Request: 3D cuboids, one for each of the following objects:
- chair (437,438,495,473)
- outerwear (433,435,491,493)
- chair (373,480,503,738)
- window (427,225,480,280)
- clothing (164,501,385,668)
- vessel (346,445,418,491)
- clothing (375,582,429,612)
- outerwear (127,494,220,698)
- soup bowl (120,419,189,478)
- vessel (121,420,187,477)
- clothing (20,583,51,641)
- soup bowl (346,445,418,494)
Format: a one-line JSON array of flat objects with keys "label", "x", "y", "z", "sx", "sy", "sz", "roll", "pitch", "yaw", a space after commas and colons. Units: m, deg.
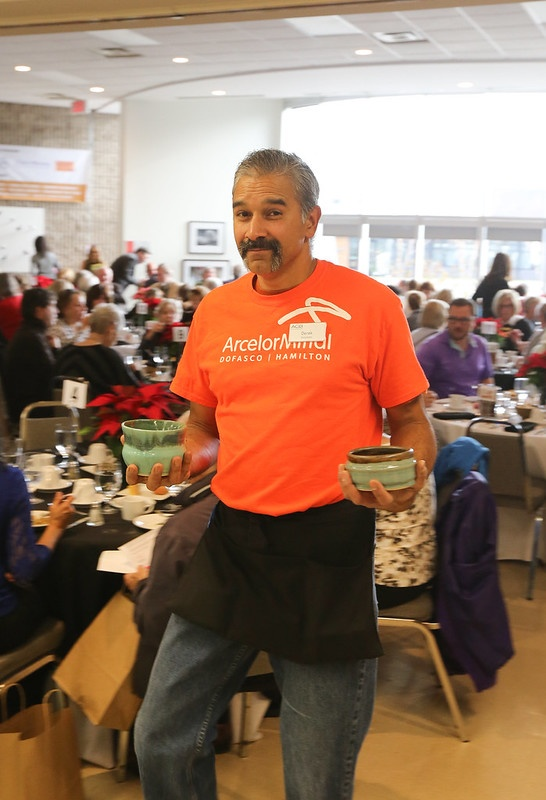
[{"label": "chair", "x": 0.695, "y": 0.203, "z": 2.368, "sx": 0.126, "sy": 0.086, "sz": 0.188, "roll": 3, "pitch": 1, "yaw": -6}, {"label": "outerwear", "x": 0.731, "y": 0.206, "z": 2.359, "sx": 0.143, "sy": 0.156, "sz": 0.146, "roll": -4, "pitch": -2, "yaw": -15}, {"label": "chair", "x": 0.535, "y": 0.690, "z": 2.411, "sx": 0.572, "sy": 0.777, "sz": 0.540, "roll": 0, "pitch": -7, "yaw": 17}, {"label": "window", "x": 3.674, "y": -2.998, "z": 13.347, "sx": 1.042, "sy": 0.928, "sz": 1.045, "roll": 2, "pitch": 0, "yaw": 11}, {"label": "clothing", "x": 0.022, "y": 0.241, "z": 0.985, "sx": 0.332, "sy": 0.223, "sz": 0.179, "roll": 7, "pitch": 6, "yaw": 22}, {"label": "vessel", "x": 0.140, "y": 0.092, "z": 0.849, "sx": 0.055, "sy": 0.051, "sz": 0.116, "roll": 5, "pitch": 4, "yaw": 39}, {"label": "clothing", "x": 0.432, "y": 0.642, "z": 2.153, "sx": 0.149, "sy": 0.100, "sz": 0.126, "roll": -4, "pitch": 1, "yaw": 24}, {"label": "outerwear", "x": -0.312, "y": 0.513, "z": 1.681, "sx": 0.201, "sy": 0.509, "sz": 0.140, "roll": 16, "pitch": 3, "yaw": -12}, {"label": "soup bowl", "x": -0.186, "y": 0.070, "z": 1.069, "sx": 0.102, "sy": 0.071, "sz": 0.097, "roll": 1, "pitch": 10, "yaw": 0}, {"label": "vessel", "x": -0.192, "y": 0.081, "z": 1.052, "sx": 0.098, "sy": 0.072, "sz": 0.097, "roll": -1, "pitch": 5, "yaw": -43}, {"label": "clothing", "x": -0.672, "y": 0.592, "z": 1.820, "sx": 0.042, "sy": 0.106, "sz": 0.104, "roll": 41, "pitch": -12, "yaw": 1}, {"label": "soup bowl", "x": 0.139, "y": 0.086, "z": 0.846, "sx": 0.069, "sy": 0.036, "sz": 0.065, "roll": -4, "pitch": -2, "yaw": 0}]
